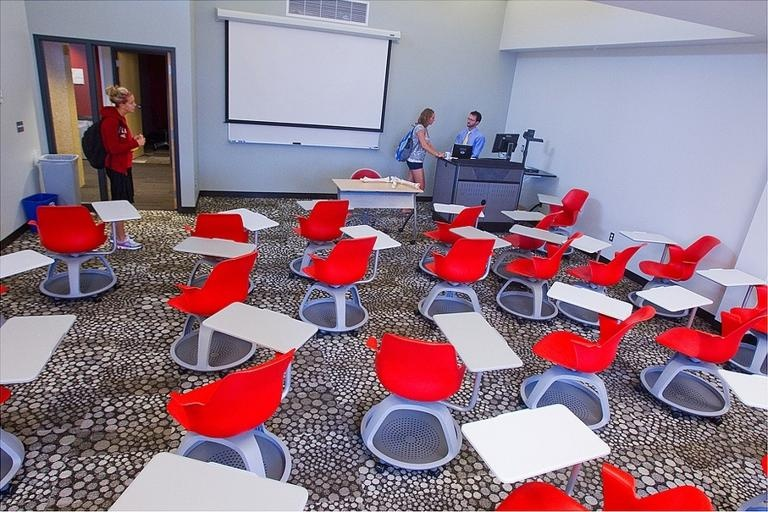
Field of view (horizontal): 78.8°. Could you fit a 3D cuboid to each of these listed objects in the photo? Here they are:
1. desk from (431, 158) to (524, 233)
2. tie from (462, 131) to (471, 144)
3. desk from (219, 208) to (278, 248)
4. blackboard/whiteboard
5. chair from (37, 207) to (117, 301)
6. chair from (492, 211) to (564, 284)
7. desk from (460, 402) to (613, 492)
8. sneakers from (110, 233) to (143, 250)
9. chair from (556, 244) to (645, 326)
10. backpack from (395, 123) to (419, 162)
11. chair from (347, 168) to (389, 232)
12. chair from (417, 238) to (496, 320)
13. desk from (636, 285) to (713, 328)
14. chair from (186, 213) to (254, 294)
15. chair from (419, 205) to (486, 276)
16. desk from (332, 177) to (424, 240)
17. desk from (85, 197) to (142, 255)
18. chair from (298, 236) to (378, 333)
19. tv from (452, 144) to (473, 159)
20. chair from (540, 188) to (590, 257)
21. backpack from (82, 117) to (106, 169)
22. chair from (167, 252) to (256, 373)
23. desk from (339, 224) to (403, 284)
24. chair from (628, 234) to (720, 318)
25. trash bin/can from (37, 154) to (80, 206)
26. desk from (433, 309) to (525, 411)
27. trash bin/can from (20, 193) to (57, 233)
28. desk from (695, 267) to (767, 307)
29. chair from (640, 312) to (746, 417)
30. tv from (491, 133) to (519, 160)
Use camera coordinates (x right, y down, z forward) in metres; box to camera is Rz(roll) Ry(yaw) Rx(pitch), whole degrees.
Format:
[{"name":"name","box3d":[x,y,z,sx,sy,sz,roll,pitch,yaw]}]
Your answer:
[{"name":"desk","box3d":[1.627,-1.113,8.501,1.345,1.166,0.965,1,16,-18]},{"name":"tie","box3d":[1.538,-2.195,8.671,0.067,0.383,0.044,16,2,39]},{"name":"desk","box3d":[-1.676,-0.337,5.802,0.342,0.325,0.666,-27,46,-36]},{"name":"blackboard/whiteboard","box3d":[-1.552,-2.259,8.784,2.457,0.370,0.095,-4,17,-18]},{"name":"chair","box3d":[-3.549,-0.139,5.295,0.746,1.033,0.844,-13,30,-35]},{"name":"chair","box3d":[1.962,-0.232,6.718,0.706,0.882,0.743,11,18,6]},{"name":"desk","box3d":[1.008,1.478,3.421,0.871,0.792,0.558,-7,35,-17]},{"name":"sneakers","box3d":[-3.434,-0.217,6.371,0.481,0.216,0.181,0,29,-21]},{"name":"chair","box3d":[2.681,0.239,5.932,0.869,1.026,0.906,-7,20,-38]},{"name":"backpack","box3d":[0.420,-2.055,8.511,0.314,0.673,0.217,5,24,-1]},{"name":"chair","box3d":[-0.254,-0.850,7.299,0.903,0.624,1.229,-4,28,-10]},{"name":"chair","box3d":[0.838,0.237,5.615,0.820,1.089,0.835,8,15,-2]},{"name":"desk","box3d":[3.347,0.583,5.347,0.397,0.376,0.380,-8,30,-9]},{"name":"chair","box3d":[-1.789,-0.010,5.061,0.780,0.884,0.679,-1,5,-23]},{"name":"chair","box3d":[0.910,-0.199,6.144,0.804,0.873,0.677,-20,39,-37]},{"name":"desk","box3d":[0.083,-0.677,7.589,1.089,0.760,1.285,0,7,-2]},{"name":"desk","box3d":[-3.350,-0.346,5.806,0.689,0.624,0.599,-5,46,-30]},{"name":"chair","box3d":[-0.524,0.244,5.296,0.838,1.079,0.841,17,19,30]},{"name":"tv","box3d":[1.357,-1.817,8.087,0.317,0.224,0.158,3,24,-4]},{"name":"chair","box3d":[2.950,-0.685,7.691,0.580,0.768,0.608,13,1,-19]},{"name":"backpack","box3d":[-3.810,-1.451,6.138,0.258,0.659,0.328,-10,28,-30]},{"name":"chair","box3d":[-1.698,0.470,4.700,0.893,1.043,0.926,8,15,16]},{"name":"desk","box3d":[-0.159,0.005,5.635,0.403,0.496,0.715,-9,26,-24]},{"name":"chair","box3d":[3.703,0.197,6.076,0.997,0.885,0.790,-3,19,14]},{"name":"trash bin/can","box3d":[-4.719,-1.113,6.800,0.547,0.662,0.457,4,24,-3]},{"name":"desk","box3d":[0.842,0.964,4.182,0.453,0.534,0.769,-8,27,-15]},{"name":"trash bin/can","box3d":[-4.328,-0.529,5.822,0.411,0.560,0.492,-3,24,-29]},{"name":"desk","box3d":[3.985,0.265,5.405,0.532,0.495,0.521,-3,30,2]},{"name":"chair","box3d":[3.121,1.127,4.724,0.734,0.866,0.721,-14,30,-21]},{"name":"tv","box3d":[2.169,-1.959,8.383,0.434,0.465,0.305,3,24,-6]}]
